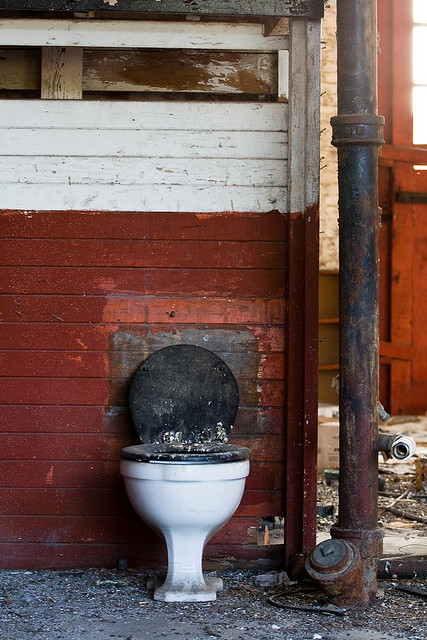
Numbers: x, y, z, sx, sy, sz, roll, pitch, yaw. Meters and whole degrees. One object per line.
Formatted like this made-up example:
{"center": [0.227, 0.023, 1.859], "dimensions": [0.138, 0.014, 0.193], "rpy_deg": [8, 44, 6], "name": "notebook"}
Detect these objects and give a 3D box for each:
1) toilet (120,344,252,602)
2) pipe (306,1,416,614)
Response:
{"center": [-0.100, 0.534, 3.984], "dimensions": [0.448, 0.840, 0.554], "rpy_deg": [0, 8, -2], "name": "toilet"}
{"center": [0.522, -0.077, 3.781], "dimensions": [0.339, 2.056, 0.552], "rpy_deg": [2, 8, 10], "name": "pipe"}
